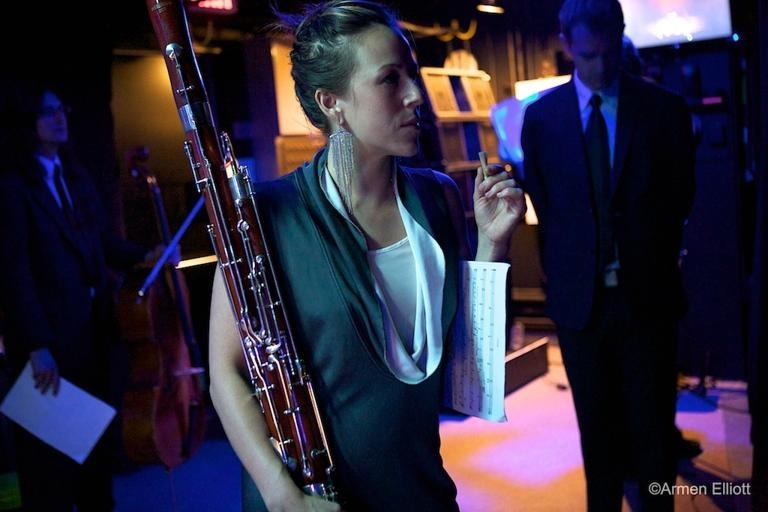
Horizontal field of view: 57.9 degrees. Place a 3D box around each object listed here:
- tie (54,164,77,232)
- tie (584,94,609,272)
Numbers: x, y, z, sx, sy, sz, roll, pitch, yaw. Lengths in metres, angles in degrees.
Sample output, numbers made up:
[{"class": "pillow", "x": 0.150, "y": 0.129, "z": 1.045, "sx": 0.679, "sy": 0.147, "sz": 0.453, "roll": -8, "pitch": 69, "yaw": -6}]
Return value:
[{"class": "tie", "x": -1.580, "y": -0.289, "z": 3.440, "sx": 0.059, "sy": 0.427, "sz": 0.038, "roll": -14, "pitch": -6, "yaw": -17}, {"class": "tie", "x": 0.880, "y": -0.294, "z": 2.817, "sx": 0.081, "sy": 0.712, "sz": 0.110, "roll": -4, "pitch": 9, "yaw": -4}]
